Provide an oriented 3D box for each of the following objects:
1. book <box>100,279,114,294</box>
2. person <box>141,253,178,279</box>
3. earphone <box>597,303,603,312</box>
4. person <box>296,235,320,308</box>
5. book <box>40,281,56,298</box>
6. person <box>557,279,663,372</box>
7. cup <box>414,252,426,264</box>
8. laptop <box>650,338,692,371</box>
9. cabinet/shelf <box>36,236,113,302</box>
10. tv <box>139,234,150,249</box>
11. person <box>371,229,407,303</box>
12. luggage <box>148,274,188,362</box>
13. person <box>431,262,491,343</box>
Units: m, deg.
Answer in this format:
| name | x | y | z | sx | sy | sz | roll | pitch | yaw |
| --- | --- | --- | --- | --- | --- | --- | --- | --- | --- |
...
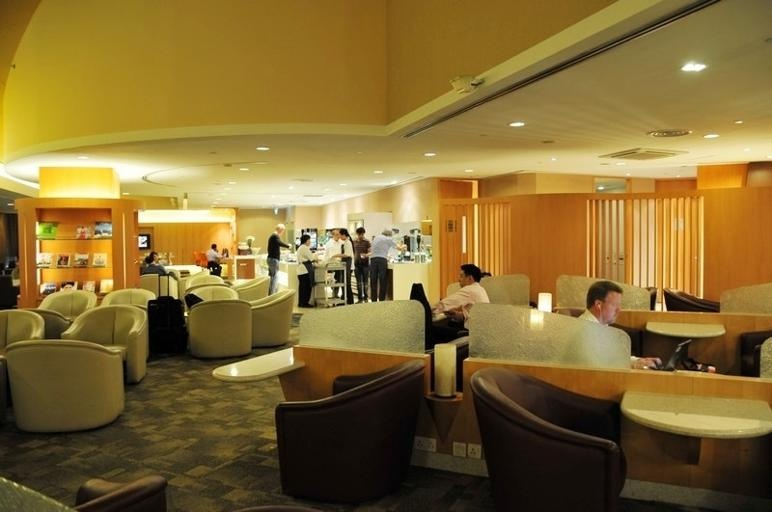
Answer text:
| name | x | y | z | sx | sy | sz | roll | pitch | yaw |
| --- | --- | --- | --- | --- | --- | --- | --- | --- | --- |
| book | -5.358 | 0.599 | 10.182 | 0.293 | 0.270 | 0.149 | 0 | 0 | 2 |
| person | -5.709 | 0.241 | 13.264 | 0.507 | 0.687 | 0.710 | 3 | 9 | 13 |
| earphone | 2.113 | 0.513 | 5.259 | 0.073 | 0.068 | 0.043 | -8 | 3 | 13 |
| person | -1.848 | 0.366 | 12.402 | 0.422 | 1.742 | 0.572 | -3 | 8 | -14 |
| book | -6.288 | 0.632 | 9.853 | 0.249 | 0.230 | 0.188 | 6 | -16 | -18 |
| person | 2.140 | 0.669 | 5.479 | 0.963 | 1.070 | 0.800 | 1 | 0 | 7 |
| cup | 0.839 | 0.041 | 13.056 | 0.308 | 0.287 | 0.221 | 2 | 7 | 15 |
| laptop | 3.064 | 1.053 | 5.684 | 0.299 | 0.276 | 0.410 | 18 | -27 | 24 |
| cabinet/shelf | -5.931 | 0.237 | 9.997 | 1.331 | 1.139 | 0.414 | 0 | -1 | -20 |
| tv | -8.592 | -0.520 | 18.803 | 0.277 | 0.476 | 0.510 | -2 | 5 | -27 |
| person | -0.051 | 0.210 | 12.110 | 0.614 | 1.612 | 1.518 | 1 | 8 | 8 |
| luggage | -3.558 | 0.959 | 8.607 | 0.622 | 1.239 | 0.443 | -3 | 0 | -21 |
| person | 0.959 | 0.597 | 7.087 | 0.733 | 0.867 | 1.060 | 1 | 8 | 12 |
